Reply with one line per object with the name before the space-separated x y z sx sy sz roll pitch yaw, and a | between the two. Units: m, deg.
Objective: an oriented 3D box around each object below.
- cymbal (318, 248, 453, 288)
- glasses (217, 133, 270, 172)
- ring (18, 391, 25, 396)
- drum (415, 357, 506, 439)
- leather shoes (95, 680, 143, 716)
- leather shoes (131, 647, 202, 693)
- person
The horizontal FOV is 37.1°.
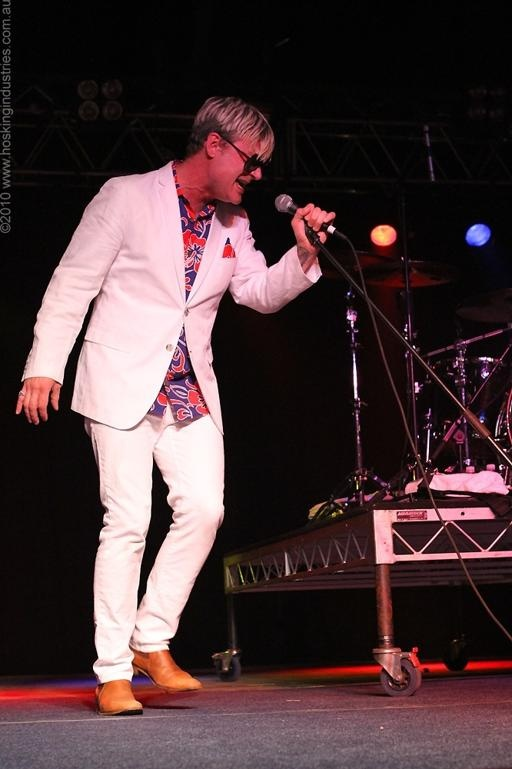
cymbal | 0.949 -0.760 5.271 0.583 0.107 0.577 5 -4 -18
glasses | -0.046 -0.622 2.089 0.041 0.124 0.097 -53 -17 14
ring | -0.557 0.024 1.826 0.006 0.016 0.012 11 2 3
drum | 1.197 0.077 4.409 0.560 0.510 0.548 -5 -8 31
leather shoes | -0.313 0.716 1.748 0.090 0.079 0.170 -3 0 -16
leather shoes | -0.235 0.754 2.001 0.170 0.114 0.119 -3 0 -5
person | -0.213 -0.005 2.004 0.815 1.623 0.440 -3 0 -33
